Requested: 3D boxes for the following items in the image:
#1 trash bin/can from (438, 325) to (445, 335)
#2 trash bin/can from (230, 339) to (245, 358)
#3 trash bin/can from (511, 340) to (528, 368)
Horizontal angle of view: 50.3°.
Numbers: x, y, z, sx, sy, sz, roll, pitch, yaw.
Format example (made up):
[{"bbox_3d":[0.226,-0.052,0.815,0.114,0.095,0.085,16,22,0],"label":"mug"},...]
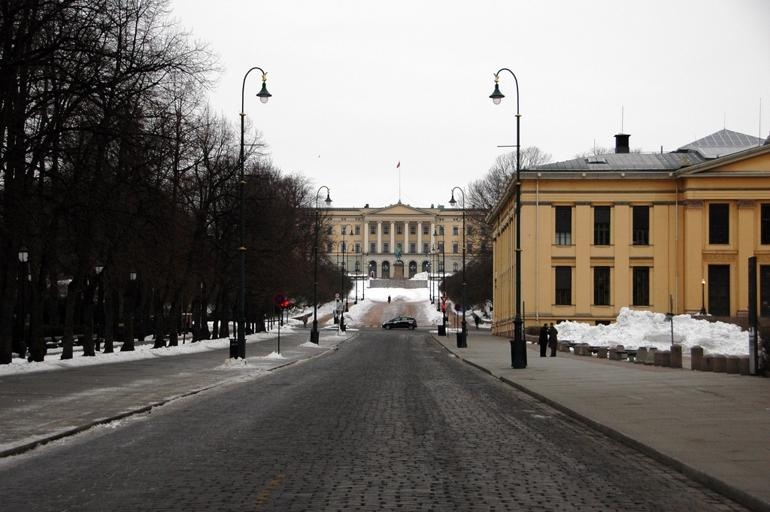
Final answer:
[{"bbox_3d":[5.279,6.790,75.198,0.660,0.984,1.524,-1,-6,7],"label":"trash bin/can"},{"bbox_3d":[-6.561,4.098,36.332,0.726,1.132,0.756,1,-4,-9],"label":"trash bin/can"},{"bbox_3d":[5.609,4.074,34.072,0.536,1.173,0.604,0,-6,1],"label":"trash bin/can"}]
